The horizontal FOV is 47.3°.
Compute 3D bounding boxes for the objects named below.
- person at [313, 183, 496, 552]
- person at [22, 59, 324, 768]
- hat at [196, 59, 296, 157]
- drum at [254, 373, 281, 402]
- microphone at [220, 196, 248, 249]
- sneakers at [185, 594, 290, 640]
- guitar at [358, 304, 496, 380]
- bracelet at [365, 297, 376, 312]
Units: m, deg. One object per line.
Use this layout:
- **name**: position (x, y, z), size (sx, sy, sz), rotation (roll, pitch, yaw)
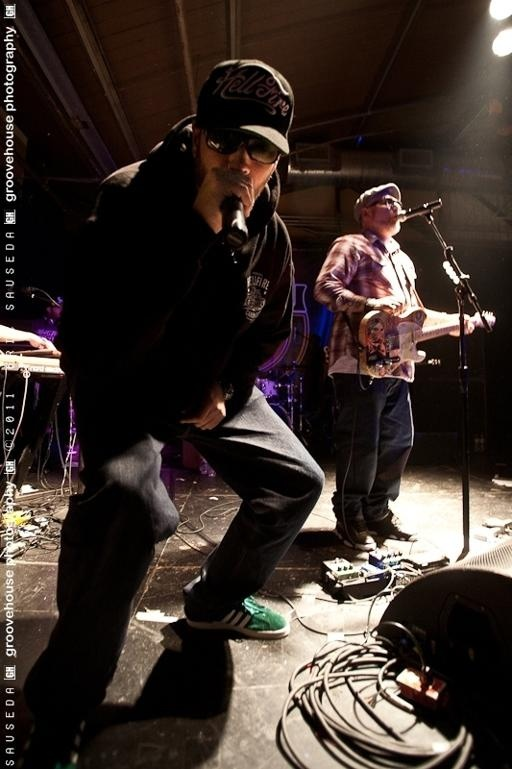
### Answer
- **person**: position (0.632, -0.046, 3.053), size (0.789, 2.006, 0.756), rotation (4, 12, -23)
- **person**: position (-0.201, -0.046, 1.623), size (0.466, 1.787, 1.035), rotation (4, 5, 32)
- **hat**: position (-0.019, -0.797, 1.636), size (0.278, 0.188, 0.368), rotation (-8, 40, -34)
- **drum**: position (0.126, 0.023, 7.388), size (0.123, 0.270, 0.354), rotation (-7, 17, -38)
- **microphone**: position (-0.056, -0.411, 1.468), size (0.064, 0.146, 0.120), rotation (1, 4, -5)
- **sneakers**: position (-0.074, 0.776, 1.946), size (0.445, 0.112, 0.164), rotation (1, 5, 4)
- **guitar**: position (0.830, -0.216, 2.956), size (0.290, 0.369, 0.730), rotation (5, 6, 45)
- **bracelet**: position (0.545, -0.380, 2.776), size (0.044, 0.057, 0.014), rotation (9, -29, 18)
